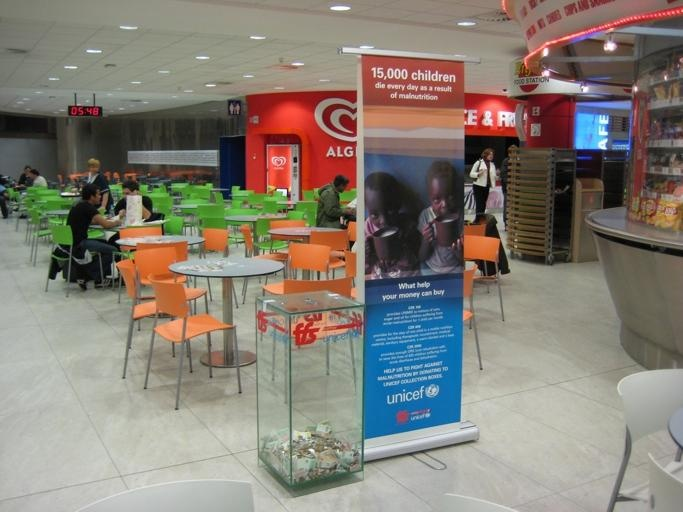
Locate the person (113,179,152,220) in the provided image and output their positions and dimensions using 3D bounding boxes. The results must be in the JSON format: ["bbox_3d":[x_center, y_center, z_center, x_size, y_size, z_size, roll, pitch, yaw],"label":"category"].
[{"bbox_3d":[-3.401,-0.867,8.085,0.571,0.729,0.455,8,20,12],"label":"person"}]

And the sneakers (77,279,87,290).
[{"bbox_3d":[-4.041,0.438,7.822,0.182,0.154,0.134,2,4,32],"label":"sneakers"}]

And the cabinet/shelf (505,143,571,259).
[{"bbox_3d":[3.935,-1.003,9.810,1.278,2.223,0.632,5,13,20],"label":"cabinet/shelf"}]

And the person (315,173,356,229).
[{"bbox_3d":[-0.112,-0.666,8.191,0.642,1.214,0.593,2,18,-7],"label":"person"}]

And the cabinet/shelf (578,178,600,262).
[{"bbox_3d":[4.862,-0.705,9.829,0.516,1.620,0.922,7,14,27],"label":"cabinet/shelf"}]
